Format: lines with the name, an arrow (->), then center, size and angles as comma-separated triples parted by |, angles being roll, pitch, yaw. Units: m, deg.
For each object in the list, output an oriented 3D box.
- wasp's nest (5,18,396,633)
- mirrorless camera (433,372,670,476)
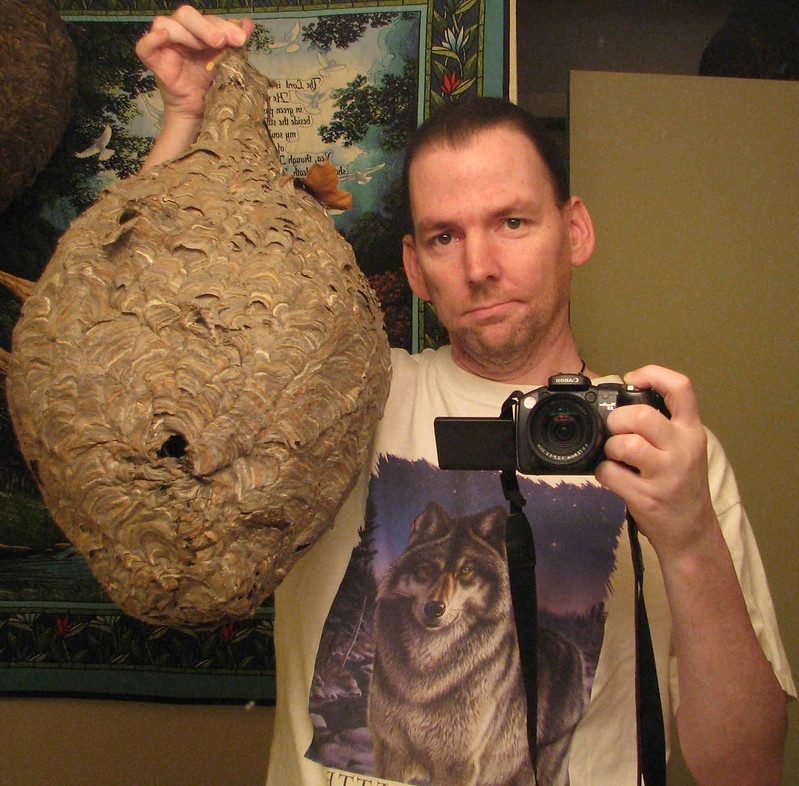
wasp's nest -> -0.339, -0.074, 1.620 | 0.728, 0.369, 0.818 | 39, 70, 23
mirrorless camera -> 0.261, 0.054, 1.623 | 0.381, 0.111, 0.152 | 1, 60, 5
